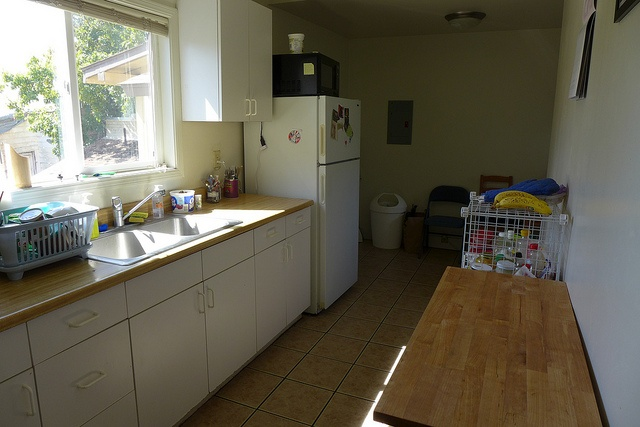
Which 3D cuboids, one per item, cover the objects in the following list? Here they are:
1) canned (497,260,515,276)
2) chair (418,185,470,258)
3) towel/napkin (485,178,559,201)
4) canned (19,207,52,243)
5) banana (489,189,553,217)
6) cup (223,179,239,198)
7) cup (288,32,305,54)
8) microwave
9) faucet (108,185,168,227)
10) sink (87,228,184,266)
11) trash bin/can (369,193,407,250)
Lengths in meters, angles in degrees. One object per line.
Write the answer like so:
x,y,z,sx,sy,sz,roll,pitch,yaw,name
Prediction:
1.118,0.326,2.638,0.085,0.054,0.087,9,21,30,canned
1.532,0.133,5.361,0.565,0.836,0.638,8,17,33,chair
1.293,-0.157,2.798,0.357,0.098,0.217,-7,13,13,towel/napkin
-1.406,0.052,2.165,0.120,0.138,0.181,-10,16,-34,canned
1.207,-0.060,2.623,0.323,0.130,0.112,4,14,20,banana
-0.745,-0.210,3.658,0.142,0.150,0.128,-3,11,-17,cup
-0.204,-1.458,3.745,0.108,0.216,0.353,-2,13,-5,cup
-0.120,-1.179,3.778,0.475,0.348,0.449,3,13,19,microwave
-1.214,-0.049,2.907,0.066,0.192,0.351,8,18,31,faucet
-1.109,0.142,2.683,0.287,0.179,0.291,16,29,21,sink
0.871,0.114,5.622,0.446,0.686,0.199,0,13,7,trash bin/can
